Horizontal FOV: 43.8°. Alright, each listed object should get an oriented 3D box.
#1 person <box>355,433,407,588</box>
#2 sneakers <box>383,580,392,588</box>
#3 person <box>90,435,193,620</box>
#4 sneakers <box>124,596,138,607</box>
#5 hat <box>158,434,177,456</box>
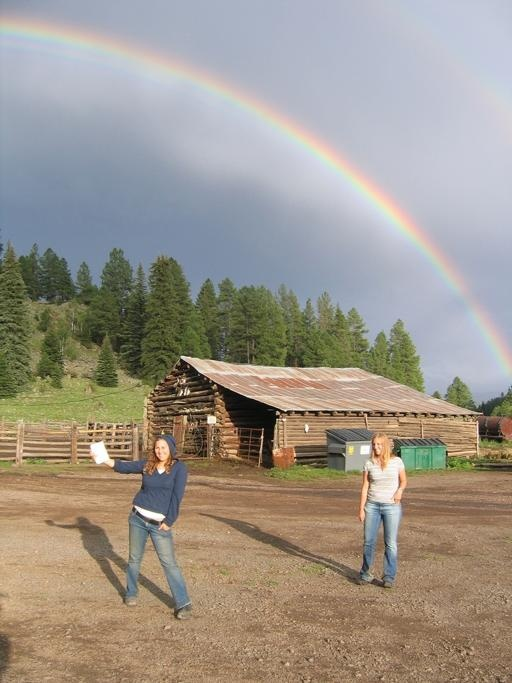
[{"bbox_3d":[1.516,2.042,7.717,0.502,1.845,0.612,2,-4,9],"label":"person"},{"bbox_3d":[1.556,2.867,7.526,0.050,0.102,0.141,5,-13,-9],"label":"sneakers"},{"bbox_3d":[-1.120,1.896,6.631,0.957,1.829,0.548,3,-4,4],"label":"person"},{"bbox_3d":[-1.343,2.777,6.799,0.119,0.094,0.194,0,1,-10],"label":"sneakers"},{"bbox_3d":[-0.931,1.091,6.706,0.191,0.218,0.232,-8,-30,3],"label":"hat"}]
